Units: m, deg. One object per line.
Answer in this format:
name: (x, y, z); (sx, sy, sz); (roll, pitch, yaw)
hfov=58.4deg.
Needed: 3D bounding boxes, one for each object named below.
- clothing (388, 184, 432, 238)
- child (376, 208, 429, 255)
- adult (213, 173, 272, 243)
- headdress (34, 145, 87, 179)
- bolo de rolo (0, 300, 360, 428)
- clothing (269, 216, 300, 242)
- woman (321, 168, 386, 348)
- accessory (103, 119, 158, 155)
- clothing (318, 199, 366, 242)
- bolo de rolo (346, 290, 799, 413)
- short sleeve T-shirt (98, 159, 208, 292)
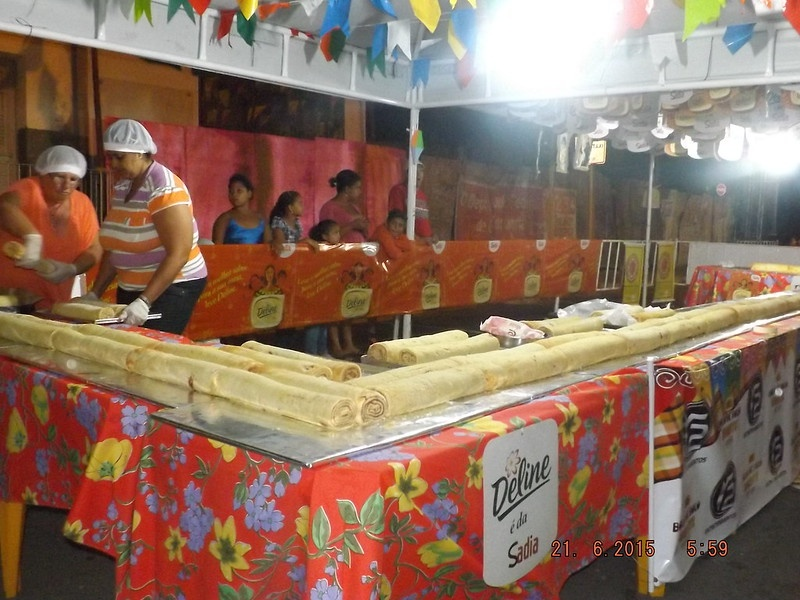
clothing: (0.133, -0.866, 7.137); (0.548, 0.595, 0.293); (5, -12, -41)
child: (-0.047, -0.572, 6.433); (0.455, 0.391, 0.779); (14, 12, 1)
adult: (-1.328, -0.676, 5.900); (0.454, 0.794, 0.420); (-3, -14, -22)
headdress: (-1.772, -0.717, 3.739); (0.220, 0.176, 0.180); (1, 8, 21)
bolo de rolo: (-0.907, 0.228, 2.769); (1.136, 0.112, 0.205); (16, 0, 37)
clothing: (-0.968, -0.587, 5.973); (0.119, 0.243, 0.235); (0, 3, 33)
woman: (-0.508, -0.514, 6.741); (0.361, 1.354, 0.498); (10, 18, 10)
accessory: (-1.285, -0.757, 3.431); (0.205, 0.144, 0.157); (13, 6, 4)
clothing: (-0.524, -0.699, 6.402); (0.231, 0.454, 0.440); (-1, 5, 29)
bolo de rolo: (0.774, 0.216, 3.383); (0.343, 0.232, 2.418); (8, 12, 41)
short sleeve T-shirt: (-1.305, -0.389, 3.726); (0.665, 0.664, 0.438); (5, 9, 38)
